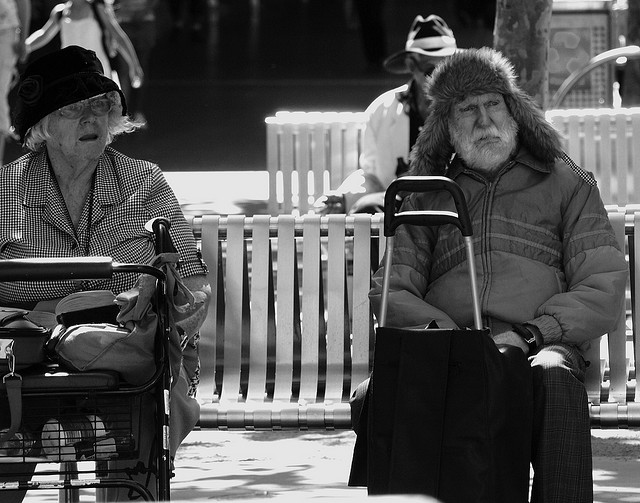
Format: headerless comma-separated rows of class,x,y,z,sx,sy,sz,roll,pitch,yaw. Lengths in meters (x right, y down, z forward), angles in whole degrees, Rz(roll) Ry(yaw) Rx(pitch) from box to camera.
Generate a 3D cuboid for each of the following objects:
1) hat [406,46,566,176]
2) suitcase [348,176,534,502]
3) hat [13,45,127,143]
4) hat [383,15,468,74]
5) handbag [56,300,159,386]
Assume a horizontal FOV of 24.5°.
hat,0.880,-0.752,7.883,0.821,0.676,0.318,-1,5,8
suitcase,0.607,0.382,7.187,0.868,1.506,1.051,-1,5,9
hat,-1.273,-0.952,7.691,0.494,0.267,0.425,33,30,33
hat,0.859,-1.723,11.587,0.614,0.335,0.840,-7,6,9
handbag,-0.935,0.429,6.703,0.514,0.366,0.303,-1,6,-8
